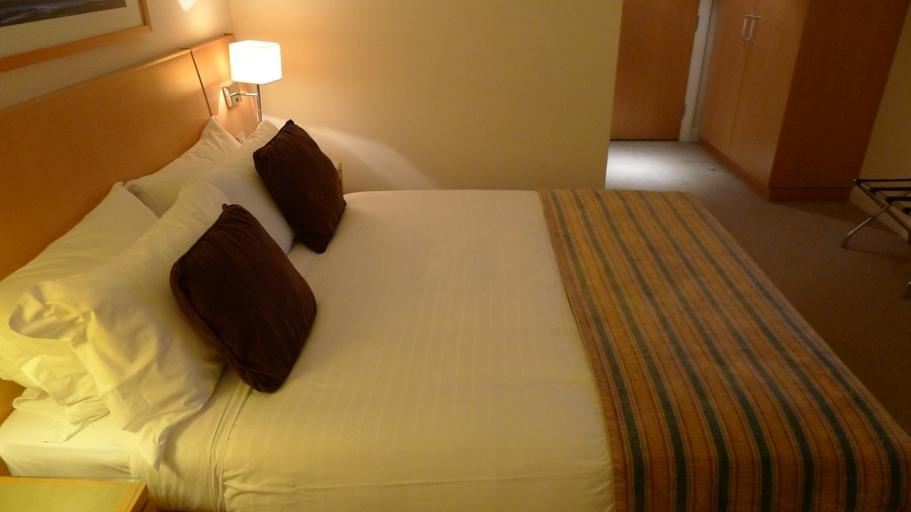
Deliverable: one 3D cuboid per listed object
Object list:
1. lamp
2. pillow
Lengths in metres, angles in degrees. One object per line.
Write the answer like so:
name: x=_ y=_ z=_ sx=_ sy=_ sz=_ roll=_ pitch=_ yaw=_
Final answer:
lamp: x=-1.500 y=-1.256 z=4.277 sx=0.375 sy=0.617 sz=0.317 roll=-16 pitch=31 yaw=-33
pillow: x=-1.357 y=0.145 z=3.019 sx=1.241 sy=0.814 sz=1.714 roll=5 pitch=40 yaw=13
